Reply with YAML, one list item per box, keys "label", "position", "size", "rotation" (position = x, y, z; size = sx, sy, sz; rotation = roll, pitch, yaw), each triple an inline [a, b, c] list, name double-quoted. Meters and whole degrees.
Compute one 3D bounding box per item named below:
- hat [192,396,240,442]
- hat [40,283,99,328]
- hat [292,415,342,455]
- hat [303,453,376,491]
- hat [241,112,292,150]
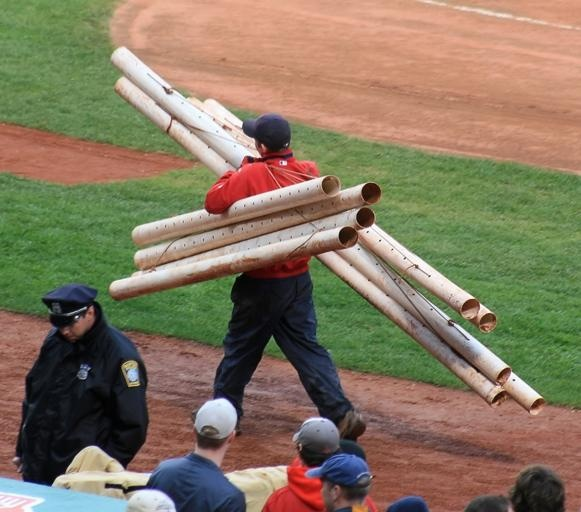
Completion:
- label: "hat"
  position: [-0.531, 1.220, 11.221]
  size: [0.387, 0.170, 0.472]
  rotation: [7, 26, 11]
- label: "hat"
  position: [-1.797, 0.383, 11.748]
  size: [0.455, 0.187, 0.479]
  rotation: [-2, 21, 26]
- label: "hat"
  position: [0.195, 1.394, 11.346]
  size: [0.373, 0.206, 0.423]
  rotation: [0, 17, -23]
- label: "hat"
  position: [0.398, 1.643, 10.919]
  size: [0.411, 0.113, 0.230]
  rotation: [1, 4, 18]
- label: "hat"
  position: [-0.166, -1.122, 12.621]
  size: [0.505, 0.233, 0.309]
  rotation: [22, 51, 17]
